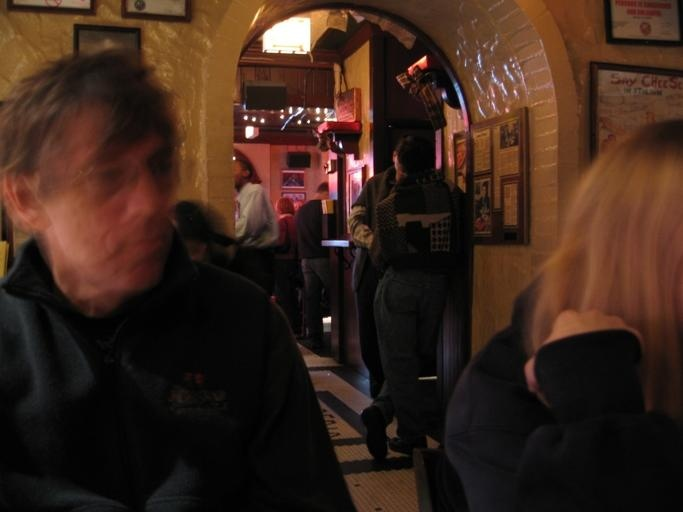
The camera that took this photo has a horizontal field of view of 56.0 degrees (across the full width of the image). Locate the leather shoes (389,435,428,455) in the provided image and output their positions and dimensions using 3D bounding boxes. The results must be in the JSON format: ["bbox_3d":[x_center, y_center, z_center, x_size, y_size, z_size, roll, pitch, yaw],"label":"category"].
[{"bbox_3d":[0.304,0.873,2.970,0.173,0.081,0.087,-1,7,13],"label":"leather shoes"}]

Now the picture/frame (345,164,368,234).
[{"bbox_3d":[0.106,-0.460,5.137,0.051,0.610,0.493,3,10,21],"label":"picture/frame"}]

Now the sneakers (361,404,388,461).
[{"bbox_3d":[0.147,0.790,2.924,0.091,0.258,0.098,-14,-8,31],"label":"sneakers"}]
